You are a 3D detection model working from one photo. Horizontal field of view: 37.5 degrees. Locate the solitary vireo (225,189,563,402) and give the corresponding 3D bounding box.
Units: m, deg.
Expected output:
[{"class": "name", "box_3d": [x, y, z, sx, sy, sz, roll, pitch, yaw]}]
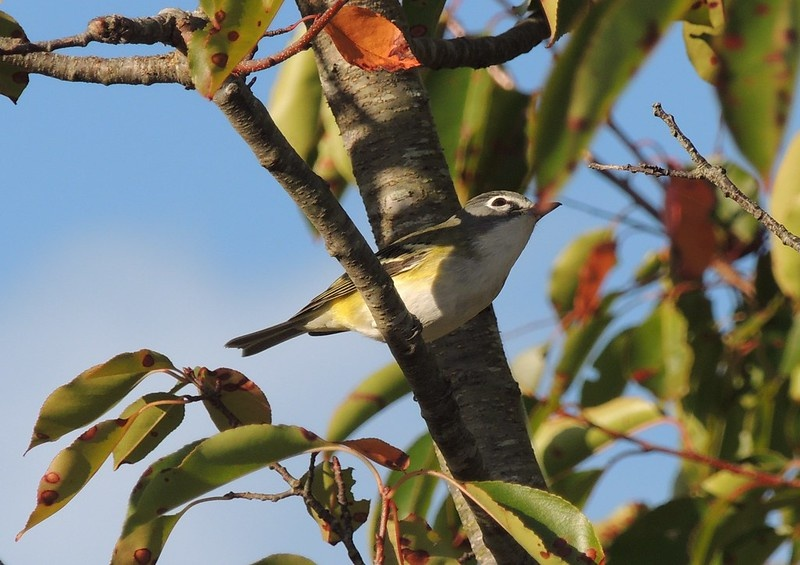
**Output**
[{"class": "solitary vireo", "box_3d": [0.171, 0.066, 6.633, 1.806, 0.774, 0.532, -16, -32, -6]}]
